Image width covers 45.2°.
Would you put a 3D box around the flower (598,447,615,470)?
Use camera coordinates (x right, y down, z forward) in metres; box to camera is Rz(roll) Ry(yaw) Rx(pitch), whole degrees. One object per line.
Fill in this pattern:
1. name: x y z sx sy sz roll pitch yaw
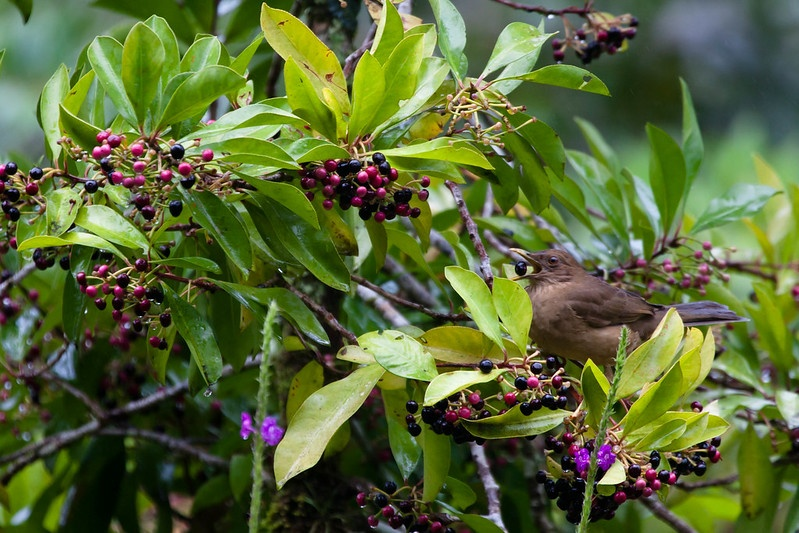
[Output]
1. flower: 0.799 0.738 3.691 0.064 0.101 0.072 0 40 12

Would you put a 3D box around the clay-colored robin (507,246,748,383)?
1. clay-colored robin: 0.861 0.221 4.642 1.364 0.815 0.477 -2 -5 -1

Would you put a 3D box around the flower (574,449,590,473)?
1. flower: 0.709 0.753 3.706 0.064 0.081 0.058 -10 39 -1
